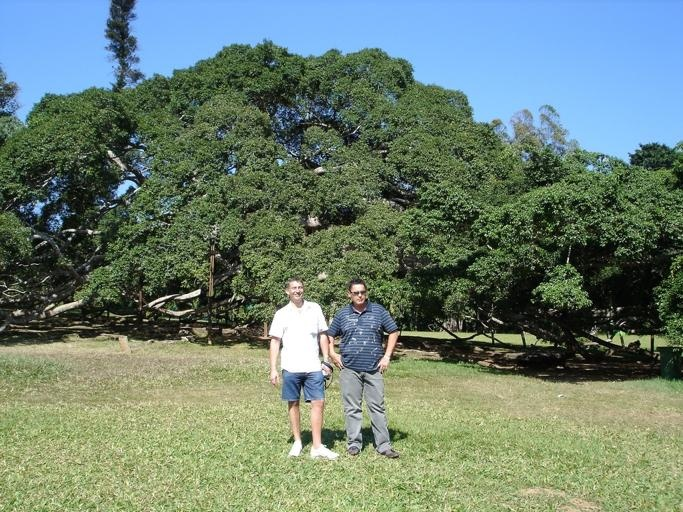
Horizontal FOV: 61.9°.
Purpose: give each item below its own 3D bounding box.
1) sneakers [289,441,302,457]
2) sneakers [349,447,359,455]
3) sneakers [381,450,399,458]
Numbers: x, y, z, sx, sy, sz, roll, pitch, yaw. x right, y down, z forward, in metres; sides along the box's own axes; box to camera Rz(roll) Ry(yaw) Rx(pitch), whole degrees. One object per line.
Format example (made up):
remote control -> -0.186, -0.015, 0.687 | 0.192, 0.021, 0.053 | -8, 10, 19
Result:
sneakers -> -0.714, 2.951, 8.795 | 0.202, 0.216, 0.283 | 3, -7, -3
sneakers -> 0.192, 3.013, 8.817 | 0.179, 0.117, 0.124 | 3, -7, 0
sneakers -> 0.738, 3.043, 8.782 | 0.103, 0.107, 0.267 | 5, -14, -41
